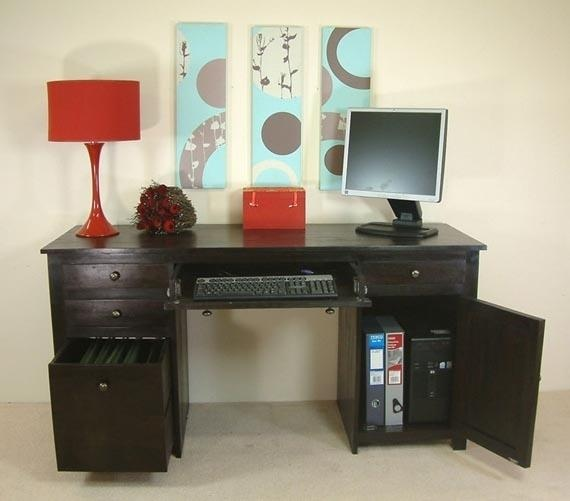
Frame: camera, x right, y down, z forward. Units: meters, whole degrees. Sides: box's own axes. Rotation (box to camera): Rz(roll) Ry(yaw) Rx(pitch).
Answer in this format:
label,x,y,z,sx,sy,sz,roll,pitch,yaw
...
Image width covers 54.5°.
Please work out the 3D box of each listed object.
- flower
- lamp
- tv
label,x,y,z,sx,sy,sz,roll,pitch,yaw
flower,-0.547,-0.177,2.462,0.244,0.132,0.246,2,31,-3
lamp,-0.817,-0.396,2.406,0.395,0.672,0.230,-4,12,-12
tv,0.494,-0.377,2.509,0.624,0.664,0.362,3,12,25
